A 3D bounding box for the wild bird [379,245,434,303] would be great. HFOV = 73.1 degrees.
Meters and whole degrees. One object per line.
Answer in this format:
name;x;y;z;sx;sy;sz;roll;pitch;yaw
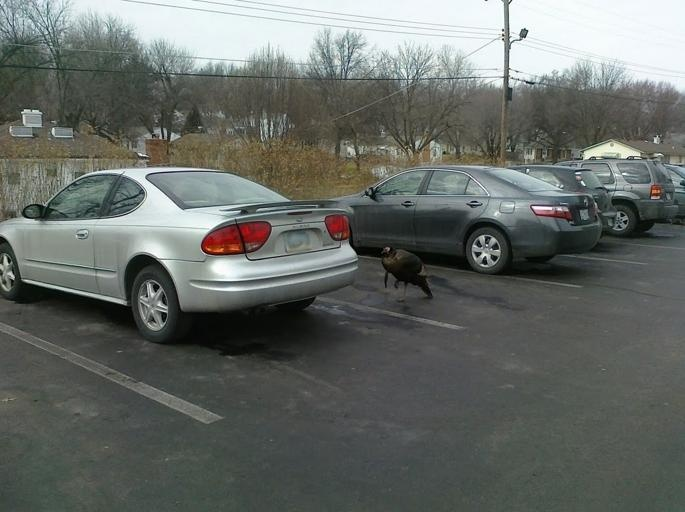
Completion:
wild bird;0.946;0.268;6.868;0.977;0.747;0.438;6;-7;-35
